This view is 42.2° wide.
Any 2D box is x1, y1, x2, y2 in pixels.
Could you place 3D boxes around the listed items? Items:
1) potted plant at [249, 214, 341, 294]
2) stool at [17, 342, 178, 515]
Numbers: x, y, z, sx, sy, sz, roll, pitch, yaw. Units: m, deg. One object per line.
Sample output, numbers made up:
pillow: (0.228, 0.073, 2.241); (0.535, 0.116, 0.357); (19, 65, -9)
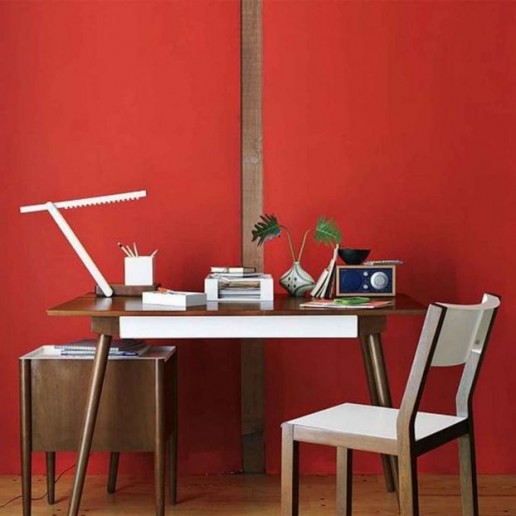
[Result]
potted plant: (0.148, -0.021, 2.649); (0.362, 0.283, 0.132); (1, 0, -6)
stool: (-0.513, 0.519, 2.553); (0.803, 0.744, 0.568); (0, -1, 1)
